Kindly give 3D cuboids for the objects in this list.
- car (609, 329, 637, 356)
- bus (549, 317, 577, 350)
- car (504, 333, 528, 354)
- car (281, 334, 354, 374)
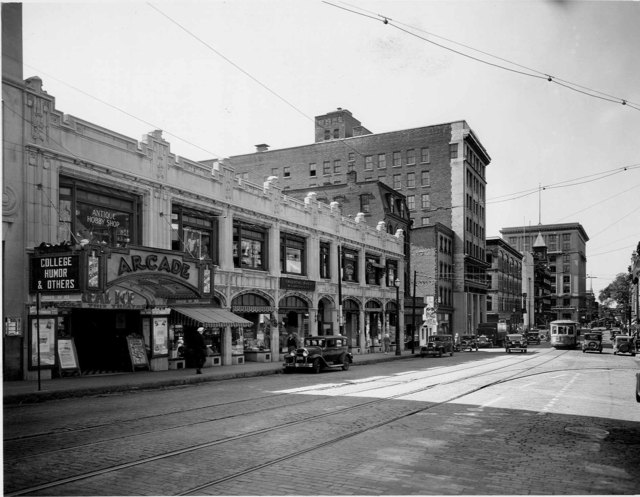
[{"bbox_3d":[21.310,6.740,59.907,1.312,1.626,2.692,1,-12,-12],"label":"car"},{"bbox_3d":[21.148,7.368,74.342,2.136,2.506,1.865,-9,-13,37],"label":"bus"},{"bbox_3d":[15.064,7.452,67.195,1.176,1.234,2.653,-2,-18,4],"label":"car"},{"bbox_3d":[-0.200,5.291,42.790,2.253,2.074,4.450,-7,-13,29],"label":"car"}]
